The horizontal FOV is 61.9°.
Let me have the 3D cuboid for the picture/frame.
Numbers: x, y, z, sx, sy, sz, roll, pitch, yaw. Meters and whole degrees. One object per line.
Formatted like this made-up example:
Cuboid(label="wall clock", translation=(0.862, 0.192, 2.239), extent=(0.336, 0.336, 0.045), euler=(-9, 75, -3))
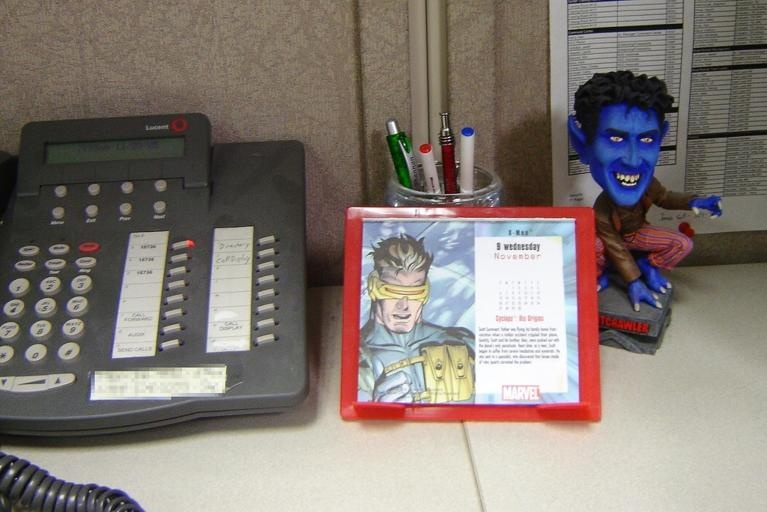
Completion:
Cuboid(label="picture/frame", translation=(0.114, 0.081, 0.801), extent=(0.296, 0.223, 0.055), euler=(0, -16, 1))
